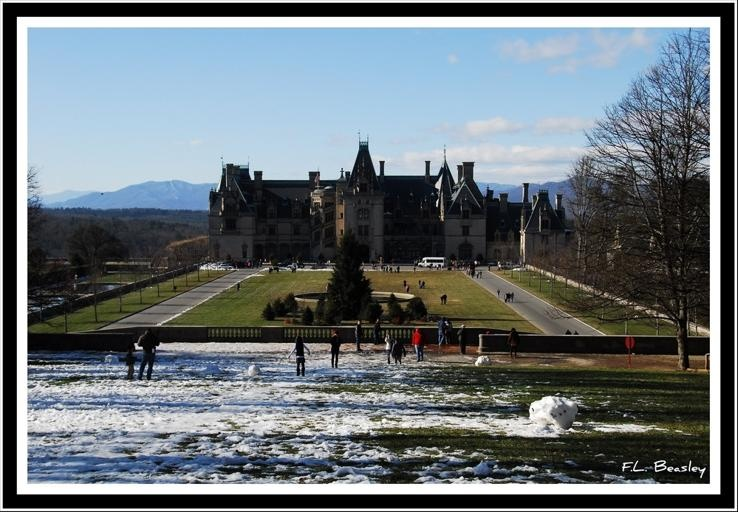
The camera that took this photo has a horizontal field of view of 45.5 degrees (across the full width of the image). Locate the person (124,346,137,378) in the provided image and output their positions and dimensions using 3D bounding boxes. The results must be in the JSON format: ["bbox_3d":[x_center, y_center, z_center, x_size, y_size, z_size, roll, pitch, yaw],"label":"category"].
[{"bbox_3d":[-8.149,3.647,30.011,0.343,0.709,1.202,-3,2,-16],"label":"person"}]

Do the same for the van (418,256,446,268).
[{"bbox_3d":[8.334,0.705,115.431,2.676,1.125,1.727,1,-3,-2],"label":"van"}]

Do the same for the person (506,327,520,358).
[{"bbox_3d":[6.307,3.745,38.329,0.504,1.296,2.124,-2,2,10],"label":"person"}]
